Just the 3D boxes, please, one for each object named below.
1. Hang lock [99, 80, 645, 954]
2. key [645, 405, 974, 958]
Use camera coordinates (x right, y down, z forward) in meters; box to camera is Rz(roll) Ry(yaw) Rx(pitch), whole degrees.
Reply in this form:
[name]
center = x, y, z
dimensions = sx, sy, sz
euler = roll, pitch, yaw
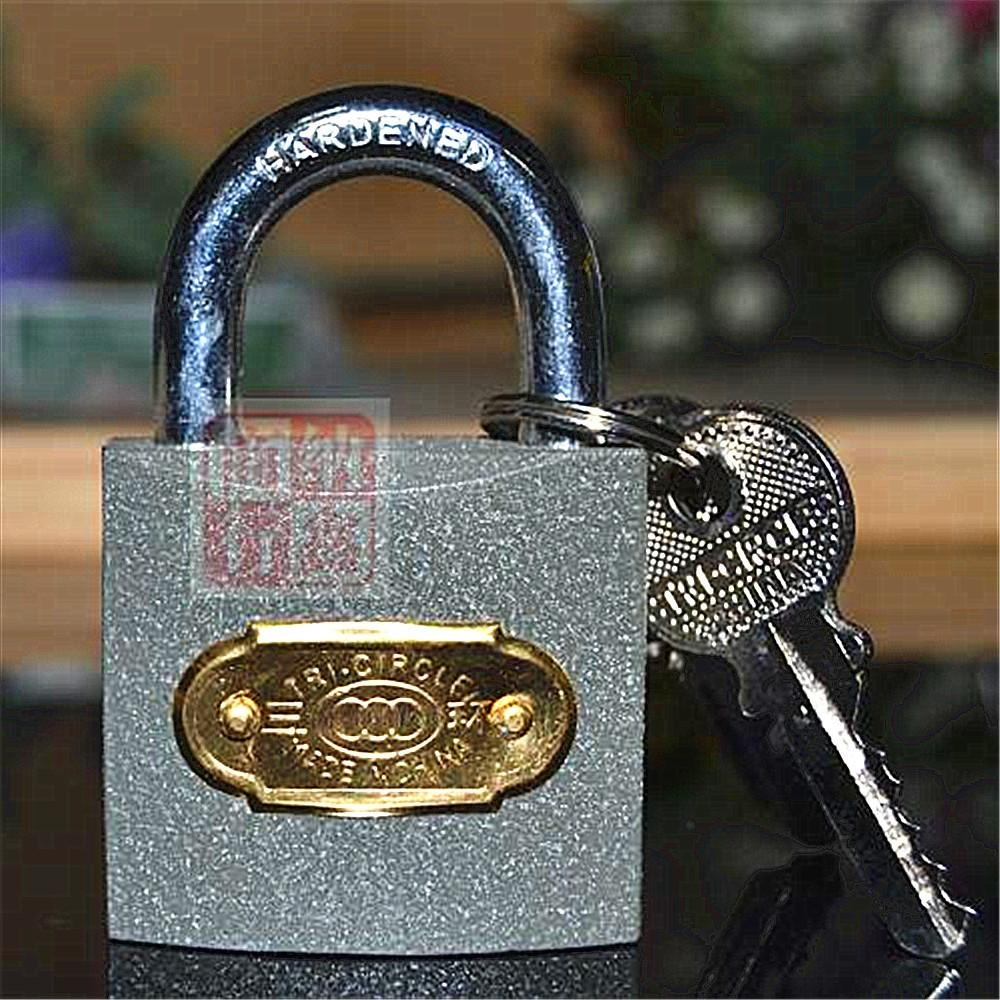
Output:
[Hang lock]
center = -0.075, 0.015, 1.184
dimensions = 0.315, 0.472, 0.157
euler = -5, 15, 3
[key]
center = 0.200, 0.098, 1.272
dimensions = 0.200, 0.300, 0.115
euler = 8, 20, 41
